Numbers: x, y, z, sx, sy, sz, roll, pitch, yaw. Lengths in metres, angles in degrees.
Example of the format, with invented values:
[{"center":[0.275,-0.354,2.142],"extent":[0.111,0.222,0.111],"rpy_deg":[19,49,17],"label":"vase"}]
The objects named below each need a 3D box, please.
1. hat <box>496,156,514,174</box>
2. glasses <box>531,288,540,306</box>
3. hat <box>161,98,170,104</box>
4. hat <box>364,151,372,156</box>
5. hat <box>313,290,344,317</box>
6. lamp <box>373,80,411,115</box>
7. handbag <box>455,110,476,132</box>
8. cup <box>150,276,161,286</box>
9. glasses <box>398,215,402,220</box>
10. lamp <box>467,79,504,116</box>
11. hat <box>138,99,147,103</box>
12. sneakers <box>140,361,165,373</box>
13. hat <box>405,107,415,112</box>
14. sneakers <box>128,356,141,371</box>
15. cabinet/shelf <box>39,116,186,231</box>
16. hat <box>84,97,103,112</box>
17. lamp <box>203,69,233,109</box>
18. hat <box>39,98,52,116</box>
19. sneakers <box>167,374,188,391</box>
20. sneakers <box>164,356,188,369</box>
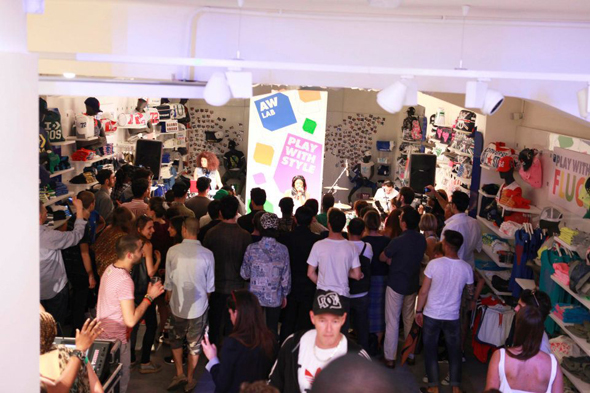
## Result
[{"center":[3.399,-0.504,6.686],"extent":[0.287,0.158,0.190],"rpy_deg":[-37,22,-27],"label":"hat"},{"center":[2.490,1.046,4.219],"extent":[0.040,0.135,0.131],"rpy_deg":[-8,14,-12],"label":"glasses"},{"center":[-3.771,-2.736,11.992],"extent":[0.284,0.134,0.372],"rpy_deg":[0,10,-6],"label":"hat"},{"center":[2.453,-1.414,13.759],"extent":[0.171,0.233,0.229],"rpy_deg":[-1,-10,-2],"label":"hat"},{"center":[0.242,0.811,3.142],"extent":[0.188,0.148,0.259],"rpy_deg":[2,-12,-4],"label":"hat"},{"center":[0.839,-0.865,3.566],"extent":[0.251,0.276,0.223],"rpy_deg":[1,12,11],"label":"lamp"},{"center":[3.393,-1.536,8.433],"extent":[0.334,0.393,0.420],"rpy_deg":[7,16,-6],"label":"handbag"},{"center":[-1.564,0.950,4.652],"extent":[0.136,0.122,0.147],"rpy_deg":[5,-2,0],"label":"cup"},{"center":[1.410,0.285,5.510],"extent":[0.062,0.083,0.076],"rpy_deg":[0,-7,10],"label":"glasses"},{"center":[1.645,-0.876,3.642],"extent":[0.381,0.289,0.200],"rpy_deg":[-7,13,-27],"label":"lamp"},{"center":[-3.886,-2.434,10.476],"extent":[0.167,0.045,0.150],"rpy_deg":[0,16,-46],"label":"hat"},{"center":[-1.805,2.146,5.137],"extent":[0.225,0.111,0.118],"rpy_deg":[-1,10,-16],"label":"sneakers"},{"center":[3.624,-2.662,12.781],"extent":[0.204,0.147,0.201],"rpy_deg":[-1,0,-15],"label":"hat"},{"center":[-2.031,2.102,5.239],"extent":[0.100,0.111,0.180],"rpy_deg":[-6,13,-21],"label":"sneakers"},{"center":[-3.320,-0.443,7.298],"extent":[0.834,2.439,2.606],"rpy_deg":[-3,-2,34],"label":"cabinet/shelf"},{"center":[-4.042,-1.828,8.192],"extent":[0.371,0.219,0.248],"rpy_deg":[33,20,19],"label":"hat"},{"center":[-0.629,-0.904,3.426],"extent":[0.258,0.260,0.265],"rpy_deg":[26,33,38],"label":"lamp"},{"center":[-4.021,-1.441,6.592],"extent":[0.070,0.264,0.508],"rpy_deg":[-7,13,-25],"label":"hat"},{"center":[-1.383,2.232,4.895],"extent":[0.271,0.105,0.125],"rpy_deg":[-37,57,-7],"label":"sneakers"},{"center":[-1.533,2.135,5.337],"extent":[0.333,0.135,0.115],"rpy_deg":[8,3,40],"label":"sneakers"}]
